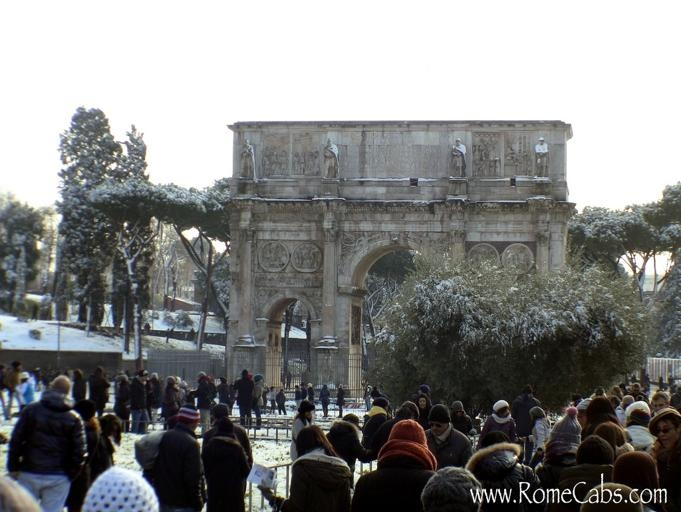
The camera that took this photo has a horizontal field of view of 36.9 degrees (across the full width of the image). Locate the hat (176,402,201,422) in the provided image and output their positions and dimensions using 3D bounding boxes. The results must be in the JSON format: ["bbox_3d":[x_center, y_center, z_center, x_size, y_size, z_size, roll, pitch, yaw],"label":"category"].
[{"bbox_3d":[-2.217,2.298,14.870,0.310,0.281,0.363,4,-11,-10],"label":"hat"}]

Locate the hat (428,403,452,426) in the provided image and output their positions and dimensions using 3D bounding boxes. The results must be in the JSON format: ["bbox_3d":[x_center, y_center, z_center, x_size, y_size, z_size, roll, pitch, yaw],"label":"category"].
[{"bbox_3d":[1.499,2.407,15.466,0.248,0.268,0.340,2,-16,10],"label":"hat"}]

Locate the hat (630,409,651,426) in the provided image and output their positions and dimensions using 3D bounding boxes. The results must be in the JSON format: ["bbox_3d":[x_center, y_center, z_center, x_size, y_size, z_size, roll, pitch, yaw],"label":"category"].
[{"bbox_3d":[4.757,2.591,16.246,0.347,0.269,0.465,0,-11,12],"label":"hat"}]

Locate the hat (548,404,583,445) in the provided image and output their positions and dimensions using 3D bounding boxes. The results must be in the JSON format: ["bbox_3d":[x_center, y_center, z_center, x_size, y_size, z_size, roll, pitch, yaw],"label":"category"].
[{"bbox_3d":[3.191,2.435,14.359,0.503,0.583,0.500,14,-21,-28],"label":"hat"}]

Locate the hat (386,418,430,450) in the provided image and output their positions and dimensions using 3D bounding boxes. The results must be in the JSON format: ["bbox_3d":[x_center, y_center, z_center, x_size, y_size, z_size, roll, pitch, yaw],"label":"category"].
[{"bbox_3d":[0.858,2.309,13.300,0.513,0.342,0.351,2,-11,2],"label":"hat"}]

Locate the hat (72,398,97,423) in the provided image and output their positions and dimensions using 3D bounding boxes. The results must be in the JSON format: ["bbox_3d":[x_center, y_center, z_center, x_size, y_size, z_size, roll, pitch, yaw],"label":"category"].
[{"bbox_3d":[-4.002,2.418,15.930,0.314,0.351,0.409,5,-11,-12],"label":"hat"}]

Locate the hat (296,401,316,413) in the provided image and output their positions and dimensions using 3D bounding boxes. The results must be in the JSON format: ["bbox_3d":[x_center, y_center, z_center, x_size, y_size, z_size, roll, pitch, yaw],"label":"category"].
[{"bbox_3d":[-0.571,2.478,16.501,0.253,0.175,0.191,-7,2,3],"label":"hat"}]
